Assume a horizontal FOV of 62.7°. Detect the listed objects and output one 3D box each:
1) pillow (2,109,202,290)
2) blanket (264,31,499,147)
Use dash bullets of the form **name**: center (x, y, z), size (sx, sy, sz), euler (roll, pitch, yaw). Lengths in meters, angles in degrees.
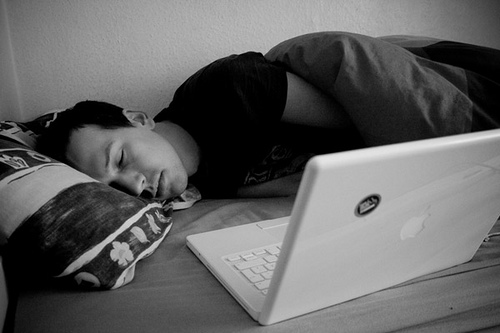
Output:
- **pillow**: center (-0.405, 0.094, 0.941), size (0.396, 0.132, 0.366), euler (40, 35, 4)
- **blanket**: center (0.422, -0.258, 1.263), size (0.708, 0.269, 0.384), euler (2, 30, 3)
